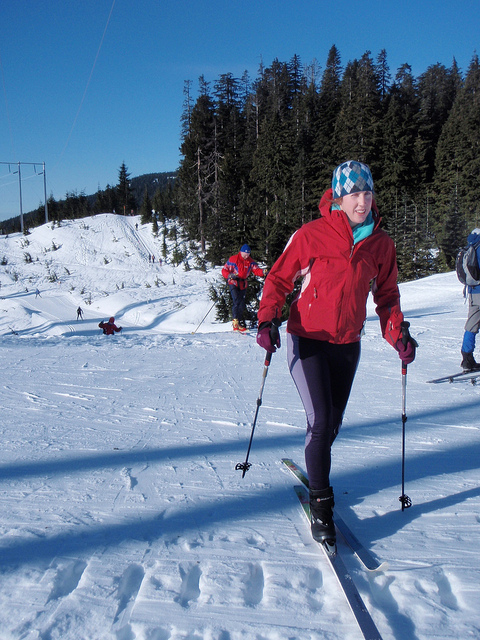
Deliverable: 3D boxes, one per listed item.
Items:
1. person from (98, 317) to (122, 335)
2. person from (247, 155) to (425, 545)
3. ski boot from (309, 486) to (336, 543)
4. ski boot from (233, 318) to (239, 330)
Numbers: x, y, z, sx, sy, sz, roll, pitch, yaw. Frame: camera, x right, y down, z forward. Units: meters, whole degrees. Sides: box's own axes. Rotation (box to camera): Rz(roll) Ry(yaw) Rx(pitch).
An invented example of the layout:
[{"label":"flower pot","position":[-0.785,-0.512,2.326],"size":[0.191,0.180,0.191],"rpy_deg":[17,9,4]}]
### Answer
[{"label":"person","position":[-3.528,0.158,15.497],"size":[0.470,0.713,0.258],"rpy_deg":[-1,16,-38]},{"label":"person","position":[0.524,0.116,3.241],"size":[0.596,2.011,0.829],"rpy_deg":[6,8,43]},{"label":"ski boot","position":[0.442,0.984,3.029],"size":[0.156,0.199,0.484],"rpy_deg":[-6,9,4]},{"label":"ski boot","position":[-0.098,0.074,12.686],"size":[0.120,0.269,0.195],"rpy_deg":[-5,8,-37]}]
